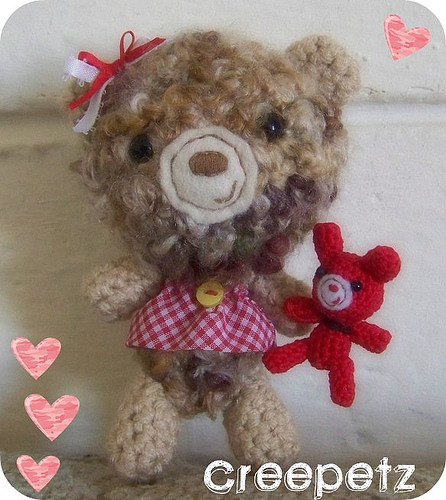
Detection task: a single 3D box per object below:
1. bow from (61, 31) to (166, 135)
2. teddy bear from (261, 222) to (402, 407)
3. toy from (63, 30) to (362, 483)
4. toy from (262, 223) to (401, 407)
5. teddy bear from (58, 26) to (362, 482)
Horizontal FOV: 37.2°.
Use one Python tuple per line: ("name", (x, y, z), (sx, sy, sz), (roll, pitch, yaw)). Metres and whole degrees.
("bow", (-0.172, -0.251, 1.003), (0.080, 0.131, 0.182), (33, 57, 29))
("teddy bear", (0.168, 0.089, 0.989), (0.203, 0.222, 0.152), (13, 25, 31))
("toy", (-0.033, 0.016, 1.074), (0.401, 0.693, 0.399), (0, 22, 7))
("toy", (0.175, 0.092, 0.988), (0.196, 0.220, 0.164), (19, 27, 41))
("teddy bear", (0.016, 0.018, 1.060), (0.637, 0.677, 0.379), (5, -1, 14))
